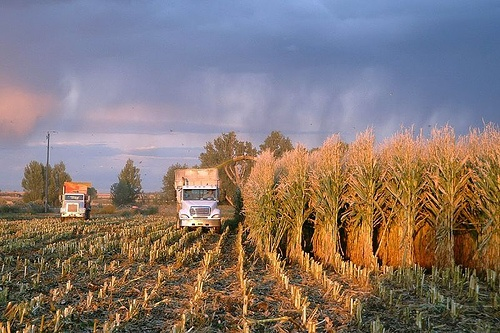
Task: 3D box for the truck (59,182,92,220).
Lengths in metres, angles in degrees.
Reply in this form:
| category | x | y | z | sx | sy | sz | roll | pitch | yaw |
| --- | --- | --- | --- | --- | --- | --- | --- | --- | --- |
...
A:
| category | x | y | z | sx | sy | sz | roll | pitch | yaw |
| --- | --- | --- | --- | --- | --- | --- | --- | --- | --- |
| truck | -11.796 | 2.276 | 34.174 | 1.680 | 2.914 | 5.253 | 2 | -2 | -12 |

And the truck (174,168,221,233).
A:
| category | x | y | z | sx | sy | sz | roll | pitch | yaw |
| --- | --- | --- | --- | --- | --- | --- | --- | --- | --- |
| truck | -2.582 | 1.702 | 24.408 | 2.090 | 3.133 | 3.056 | -1 | 3 | -9 |
